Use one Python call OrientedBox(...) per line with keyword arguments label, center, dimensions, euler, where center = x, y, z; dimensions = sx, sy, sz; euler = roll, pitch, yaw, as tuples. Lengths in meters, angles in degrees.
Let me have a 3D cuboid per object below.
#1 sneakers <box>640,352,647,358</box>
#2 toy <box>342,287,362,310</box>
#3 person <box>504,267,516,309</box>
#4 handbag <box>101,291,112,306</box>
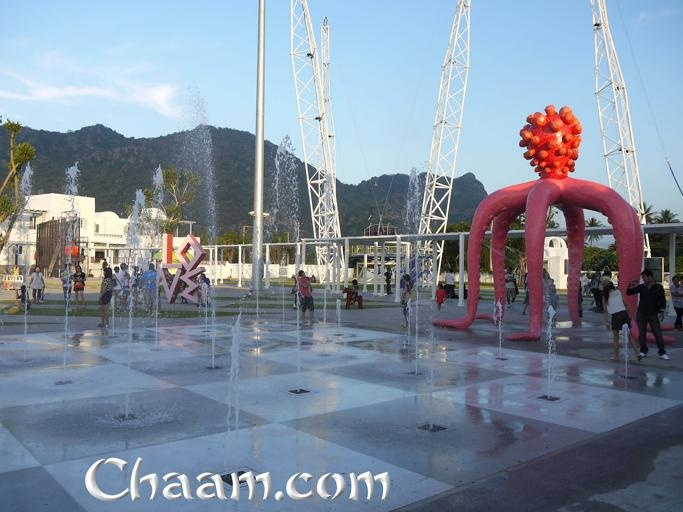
OrientedBox(label="sneakers", center=(6.539, 2.189, 12.614), dimensions=(0.072, 0.103, 0.247), euler=(-7, -14, 26))
OrientedBox(label="toy", center=(0.455, 1.918, 25.052), dimensions=(0.833, 1.148, 0.687), euler=(3, -8, -7))
OrientedBox(label="person", center=(8.066, 1.630, 27.747), dimensions=(0.420, 1.531, 2.332), euler=(0, -4, 16))
OrientedBox(label="handbag", center=(-6.683, 1.209, 16.410), dimensions=(0.279, 0.443, 0.433), euler=(2, -4, -24))
